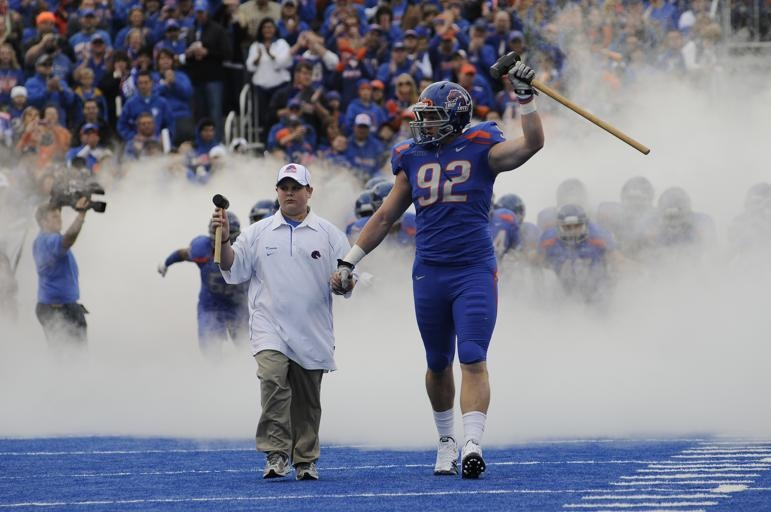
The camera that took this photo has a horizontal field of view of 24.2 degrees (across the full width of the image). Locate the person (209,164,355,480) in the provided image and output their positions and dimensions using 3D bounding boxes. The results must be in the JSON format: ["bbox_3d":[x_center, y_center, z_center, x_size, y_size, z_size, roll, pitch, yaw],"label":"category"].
[{"bbox_3d":[-1.006,0.552,17.455,1.430,2.992,1.150,3,-10,-29],"label":"person"}]

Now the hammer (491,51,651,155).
[{"bbox_3d":[2.232,-1.770,20.698,1.929,0.203,0.589,37,39,13],"label":"hammer"}]

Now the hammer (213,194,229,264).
[{"bbox_3d":[-1.622,-0.261,17.506,0.125,0.678,0.329,1,3,-6],"label":"hammer"}]

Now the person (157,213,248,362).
[{"bbox_3d":[-2.111,0.373,20.804,0.827,1.649,0.894,0,-3,6],"label":"person"}]

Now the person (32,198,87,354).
[{"bbox_3d":[-3.796,0.235,20.892,0.560,1.769,0.500,4,-4,-18],"label":"person"}]
